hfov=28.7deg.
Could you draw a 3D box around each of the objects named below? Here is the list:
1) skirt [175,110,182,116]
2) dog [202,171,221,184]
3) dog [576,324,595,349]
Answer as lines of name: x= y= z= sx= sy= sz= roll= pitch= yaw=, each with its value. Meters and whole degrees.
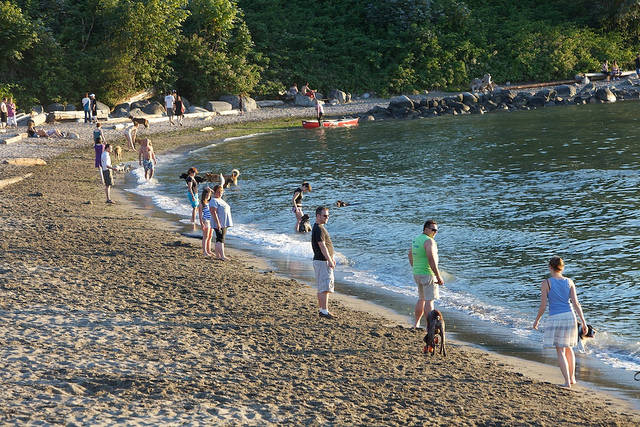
skirt: x=-12.249 y=-8.761 z=108.474 sx=0.549 sy=0.570 sz=0.775 roll=-5 pitch=12 yaw=-8
dog: x=-7.488 y=-2.503 z=86.027 sx=1.458 sy=0.943 sz=0.420 roll=5 pitch=47 yaw=5
dog: x=14.879 y=7.003 z=71.481 sx=0.656 sy=1.408 sz=1.222 roll=-7 pitch=-9 yaw=37
